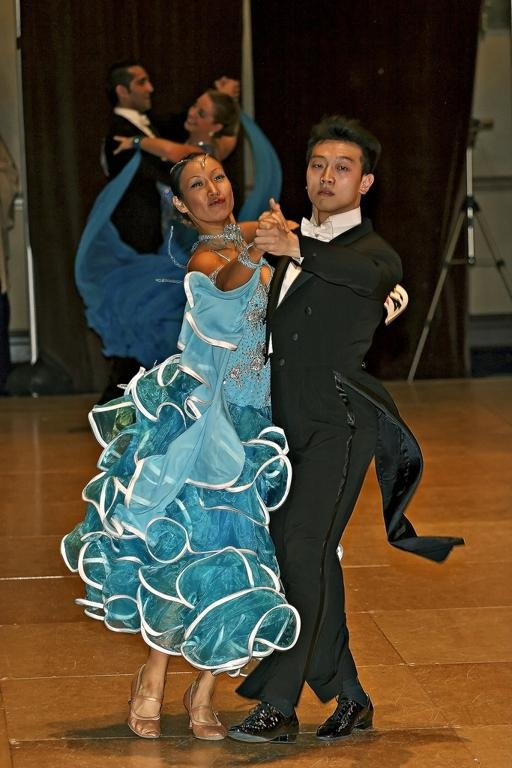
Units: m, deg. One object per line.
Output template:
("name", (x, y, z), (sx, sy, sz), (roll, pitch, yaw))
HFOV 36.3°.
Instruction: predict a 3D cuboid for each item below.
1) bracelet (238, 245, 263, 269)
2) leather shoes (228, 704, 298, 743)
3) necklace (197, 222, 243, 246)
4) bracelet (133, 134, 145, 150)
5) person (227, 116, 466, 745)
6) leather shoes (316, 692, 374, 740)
("bracelet", (-0.012, -0.250, 1.578), (0.042, 0.022, 0.047), (10, 39, -26))
("leather shoes", (0.023, 0.691, 1.615), (0.150, 0.067, 0.072), (4, -7, -10))
("necklace", (-0.084, -0.324, 1.761), (0.079, 0.038, 0.061), (-10, -9, 44))
("bracelet", (-0.949, -1.934, 6.285), (0.050, 0.110, 0.095), (0, -12, -37))
("person", (0.136, 0.106, 1.684), (0.385, 1.369, 0.635), (0, 1, 37))
("leather shoes", (0.199, 0.723, 1.733), (0.158, 0.072, 0.057), (0, 3, -40))
